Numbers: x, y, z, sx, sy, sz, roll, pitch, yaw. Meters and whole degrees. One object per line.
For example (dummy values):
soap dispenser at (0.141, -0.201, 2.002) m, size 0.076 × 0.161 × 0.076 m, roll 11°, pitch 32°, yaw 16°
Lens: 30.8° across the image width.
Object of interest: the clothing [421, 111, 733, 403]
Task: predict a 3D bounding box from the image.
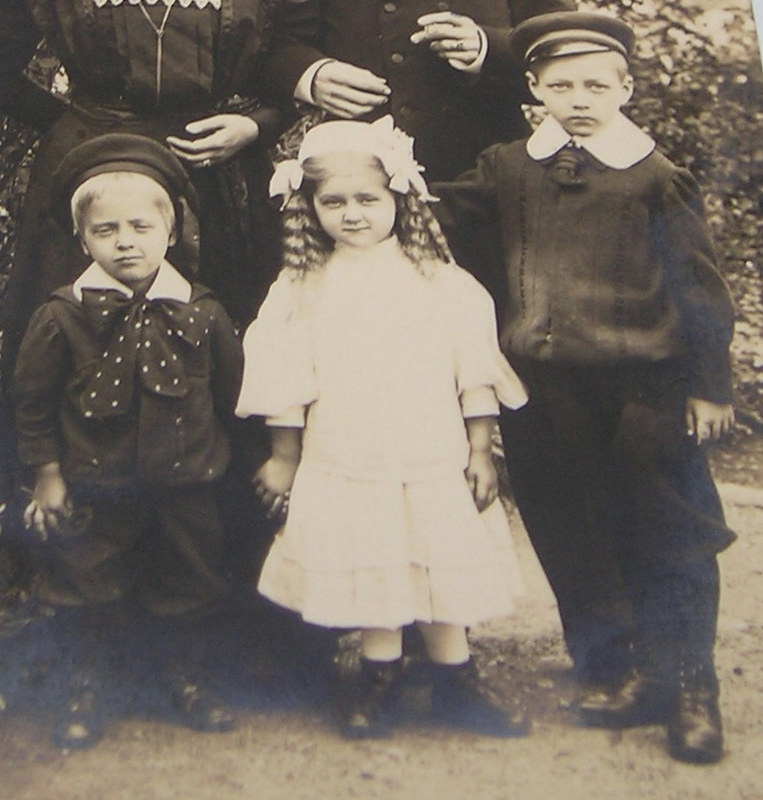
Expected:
clothing at (0.700, -0.473, 5.011) m, size 1.132 × 0.959 × 0.427 m, roll 0°, pitch -4°, yaw 5°

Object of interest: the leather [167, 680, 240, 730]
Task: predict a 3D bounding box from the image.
leather at (-0.649, 1.093, 4.926) m, size 0.236 × 0.139 × 0.104 m, roll 9°, pitch 29°, yaw 24°

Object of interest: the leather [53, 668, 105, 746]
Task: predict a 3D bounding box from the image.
leather at (-1.087, 1.108, 5.059) m, size 0.104 × 0.253 × 0.413 m, roll -6°, pitch -7°, yaw -27°

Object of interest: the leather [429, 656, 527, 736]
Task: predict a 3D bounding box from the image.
leather at (0.336, 1.054, 4.982) m, size 0.298 × 0.258 × 0.072 m, roll 13°, pitch -7°, yaw 0°

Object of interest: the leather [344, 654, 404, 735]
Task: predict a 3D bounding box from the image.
leather at (-0.024, 1.051, 4.889) m, size 0.259 × 0.233 × 0.059 m, roll 13°, pitch -8°, yaw 8°
